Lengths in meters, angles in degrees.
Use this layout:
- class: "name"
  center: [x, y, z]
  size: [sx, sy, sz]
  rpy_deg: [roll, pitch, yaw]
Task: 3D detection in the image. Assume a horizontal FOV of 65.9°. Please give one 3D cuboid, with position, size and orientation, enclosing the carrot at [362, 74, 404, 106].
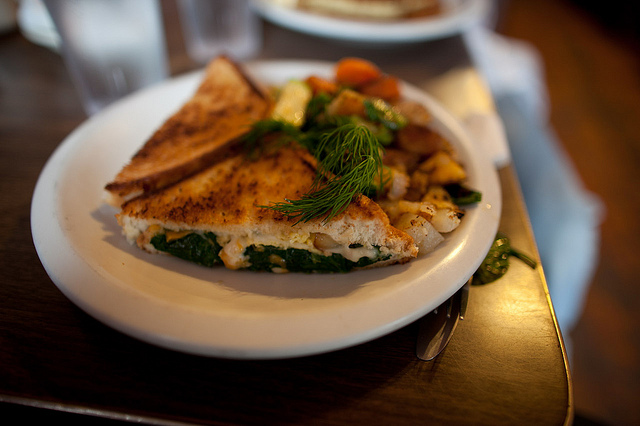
- class: "carrot"
  center: [0.407, -0.763, 2.932]
  size: [0.198, 0.052, 0.195]
  rpy_deg: [20, 56, 23]

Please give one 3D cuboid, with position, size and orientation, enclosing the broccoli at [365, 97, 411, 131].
- class: "broccoli"
  center: [0.363, -0.538, 2.771]
  size: [0.231, 0.069, 0.141]
  rpy_deg: [31, 42, -8]

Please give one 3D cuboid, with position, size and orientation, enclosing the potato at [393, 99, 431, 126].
- class: "potato"
  center: [0.507, -0.572, 2.792]
  size: [0.184, 0.044, 0.142]
  rpy_deg: [39, 47, 17]

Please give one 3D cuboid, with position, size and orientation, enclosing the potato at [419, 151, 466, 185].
- class: "potato"
  center: [0.667, -0.228, 2.673]
  size: [0.193, 0.051, 0.184]
  rpy_deg: [-38, 67, -6]

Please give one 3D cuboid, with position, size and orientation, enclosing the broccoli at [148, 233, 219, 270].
- class: "broccoli"
  center: [-0.669, 0.170, 2.433]
  size: [0.309, 0.088, 0.170]
  rpy_deg: [11, 51, 10]

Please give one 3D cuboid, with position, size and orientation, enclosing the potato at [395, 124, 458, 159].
- class: "potato"
  center: [0.589, -0.375, 2.778]
  size: [0.318, 0.076, 0.170]
  rpy_deg: [19, 62, 11]

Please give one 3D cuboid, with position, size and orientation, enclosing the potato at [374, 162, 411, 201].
- class: "potato"
  center: [0.406, -0.191, 2.664]
  size: [0.199, 0.059, 0.193]
  rpy_deg: [3, 56, -9]

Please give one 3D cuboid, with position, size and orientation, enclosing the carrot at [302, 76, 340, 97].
- class: "carrot"
  center: [0.000, -0.761, 2.903]
  size: [0.204, 0.065, 0.101]
  rpy_deg: [13, 48, 10]
